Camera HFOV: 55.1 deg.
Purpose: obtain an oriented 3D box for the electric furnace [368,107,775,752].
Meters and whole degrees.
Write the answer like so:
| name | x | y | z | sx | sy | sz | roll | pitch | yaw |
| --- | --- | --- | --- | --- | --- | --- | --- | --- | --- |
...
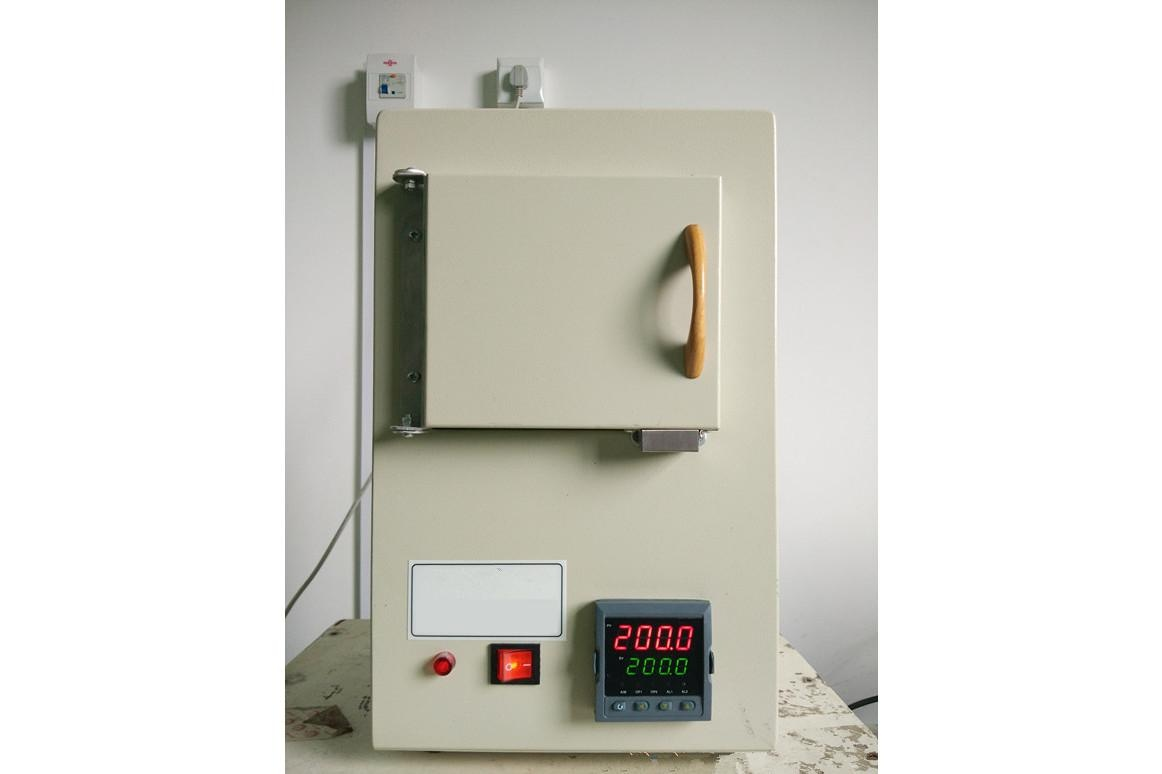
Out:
| name | x | y | z | sx | sy | sz | roll | pitch | yaw |
| --- | --- | --- | --- | --- | --- | --- | --- | --- | --- |
| electric furnace | -0.095 | 0.117 | 2.271 | 0.809 | 1.159 | 0.834 | 2 | -5 | -21 |

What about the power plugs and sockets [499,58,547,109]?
| name | x | y | z | sx | sy | sz | roll | pitch | yaw |
| --- | --- | --- | --- | --- | --- | --- | --- | --- | --- |
| power plugs and sockets | -0.154 | -0.782 | 2.840 | 0.123 | 0.127 | 0.071 | 2 | 2 | -4 |
